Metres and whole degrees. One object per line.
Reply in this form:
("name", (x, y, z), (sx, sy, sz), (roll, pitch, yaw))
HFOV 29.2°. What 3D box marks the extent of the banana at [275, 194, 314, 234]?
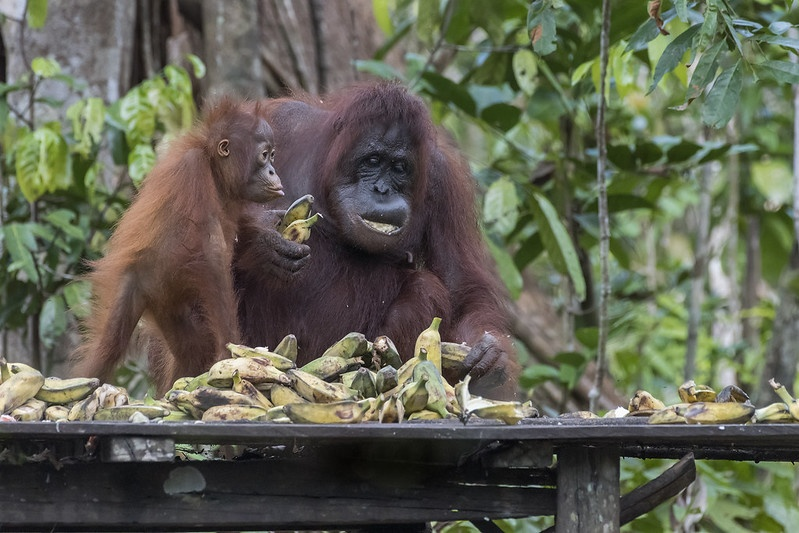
("banana", (-0.559, -0.279, 8.209), (0.101, 0.118, 0.360), (33, -22, -16))
